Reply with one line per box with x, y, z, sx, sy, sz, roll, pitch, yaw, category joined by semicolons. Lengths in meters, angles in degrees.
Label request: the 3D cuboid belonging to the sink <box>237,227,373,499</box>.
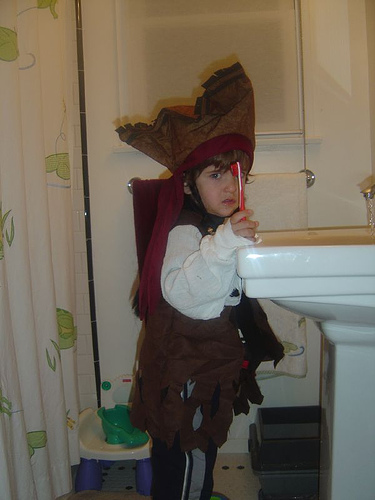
0.234;0.230;0.887;0.257;0.515;0.422;1;6;10;sink
